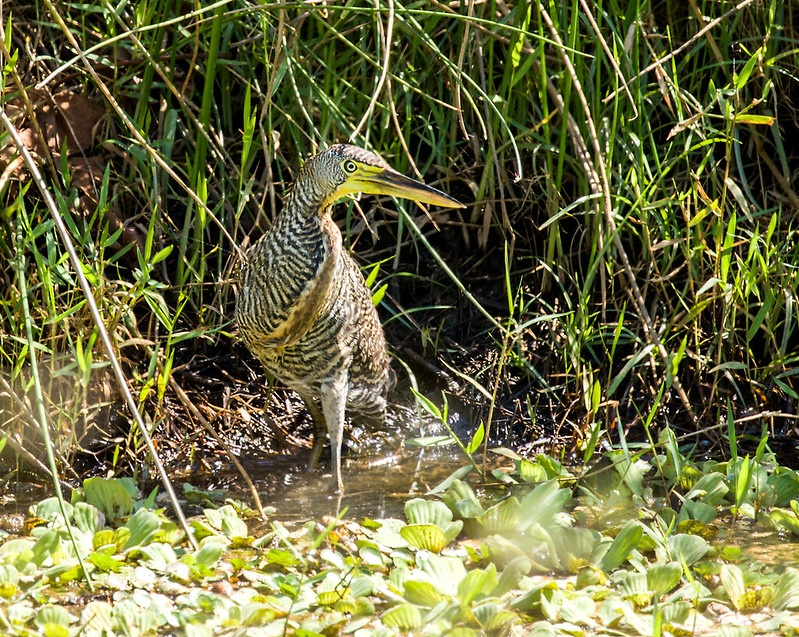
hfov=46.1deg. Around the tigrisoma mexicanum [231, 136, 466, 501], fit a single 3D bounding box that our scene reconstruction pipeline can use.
[{"bbox_3d":[-0.311,-0.046,4.396,0.874,1.479,0.589,-20,37,-14],"label":"tigrisoma mexicanum"}]
